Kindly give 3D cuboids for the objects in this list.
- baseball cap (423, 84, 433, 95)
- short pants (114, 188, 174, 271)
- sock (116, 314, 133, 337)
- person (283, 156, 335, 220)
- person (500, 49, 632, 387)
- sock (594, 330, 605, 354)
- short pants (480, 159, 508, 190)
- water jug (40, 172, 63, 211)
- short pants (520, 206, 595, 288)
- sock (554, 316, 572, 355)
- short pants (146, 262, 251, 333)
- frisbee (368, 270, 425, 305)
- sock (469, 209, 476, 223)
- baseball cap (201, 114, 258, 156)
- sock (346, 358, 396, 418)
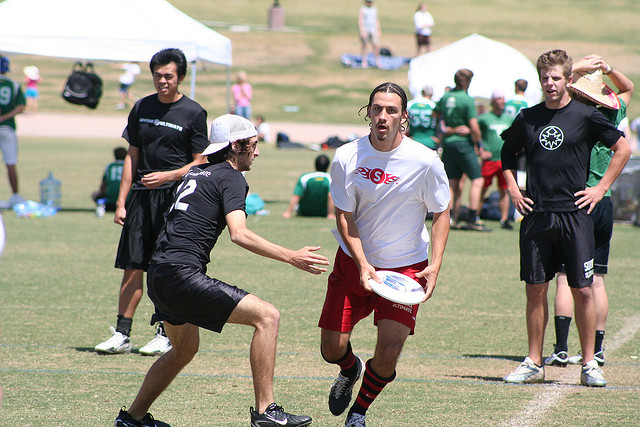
[{"bbox_3d":[2.049,-2.376,20.312,0.237,0.193,0.222,7,-1,2],"label":"baseball cap"},{"bbox_3d":[-2.115,0.177,12.769,0.618,0.979,0.322,4,8,17],"label":"short pants"},{"bbox_3d":[-2.369,1.363,12.824,0.246,0.298,0.237,6,-7,-10],"label":"sock"},{"bbox_3d":[-0.182,-0.569,20.446,1.067,1.199,1.000,2,15,-26],"label":"person"},{"bbox_3d":[2.740,0.044,12.237,1.373,3.789,0.643,2,8,8],"label":"person"},{"bbox_3d":[3.309,1.522,12.672,0.085,0.271,0.157,4,8,16],"label":"sock"},{"bbox_3d":[3.148,-0.716,19.453,0.474,0.604,0.865,2,8,8],"label":"short pants"},{"bbox_3d":[-5.141,-0.466,20.344,0.391,0.707,1.293,-1,8,-14],"label":"water jug"},{"bbox_3d":[2.721,0.368,12.270,0.834,0.936,0.221,2,8,5],"label":"short pants"},{"bbox_3d":[2.892,1.439,12.778,0.177,0.478,0.258,3,8,12],"label":"sock"},{"bbox_3d":[-1.317,0.856,11.133,1.040,0.699,0.236,2,8,3],"label":"short pants"},{"bbox_3d":[0.806,0.780,11.280,0.596,0.298,0.449,3,8,10],"label":"frisbee"},{"bbox_3d":[2.745,0.037,19.233,0.117,0.260,0.174,2,8,7],"label":"sock"},{"bbox_3d":[-0.970,-0.839,11.320,0.555,0.421,0.184,1,8,-5],"label":"baseball cap"},{"bbox_3d":[0.540,1.850,11.337,0.494,0.620,0.165,1,8,-1],"label":"sock"}]
